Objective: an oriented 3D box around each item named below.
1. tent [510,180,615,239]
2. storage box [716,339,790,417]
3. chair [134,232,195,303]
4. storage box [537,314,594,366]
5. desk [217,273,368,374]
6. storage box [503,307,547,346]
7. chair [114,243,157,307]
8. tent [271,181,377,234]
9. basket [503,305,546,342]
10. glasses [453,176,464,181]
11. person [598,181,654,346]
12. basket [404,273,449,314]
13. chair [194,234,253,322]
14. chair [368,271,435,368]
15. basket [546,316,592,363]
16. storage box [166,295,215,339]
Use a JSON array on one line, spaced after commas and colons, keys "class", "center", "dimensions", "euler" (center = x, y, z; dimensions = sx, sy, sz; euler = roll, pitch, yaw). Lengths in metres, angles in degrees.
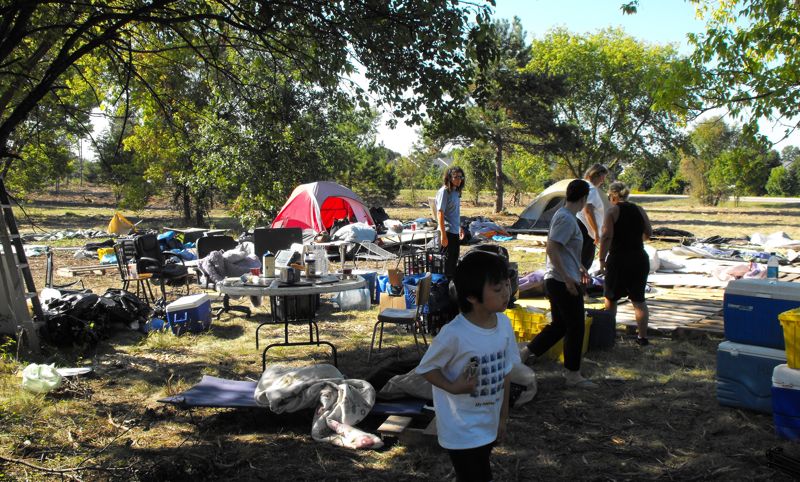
[{"class": "tent", "center": [5.401, -1.358, 21.356], "dimensions": [2.561, 1.060, 2.558], "euler": [-18, 3, -17]}, {"class": "storage box", "center": [4.576, 1.666, 7.638], "dimensions": [0.870, 0.832, 0.870], "euler": [-4, 5, -34]}, {"class": "chair", "center": [-4.614, 0.449, 12.058], "dimensions": [0.900, 1.120, 0.859], "euler": [5, 11, 24]}, {"class": "storage box", "center": [2.310, 1.326, 9.107], "dimensions": [0.950, 0.519, 0.963], "euler": [6, 0, 18]}, {"class": "desk", "center": [-1.536, 1.198, 9.362], "dimensions": [2.083, 1.147, 2.103], "euler": [-2, -2, 1]}, {"class": "storage box", "center": [1.857, 1.195, 9.010], "dimensions": [0.540, 0.294, 0.807], "euler": [1, 7, 7]}, {"class": "chair", "center": [-5.150, 0.731, 11.992], "dimensions": [0.524, 1.072, 0.515], "euler": [-13, -4, -32]}, {"class": "tent", "center": [-2.469, -1.030, 17.488], "dimensions": [1.776, 0.808, 1.559], "euler": [8, 20, 23]}, {"class": "basket", "center": [1.871, 1.187, 9.161], "dimensions": [0.537, 0.291, 0.807], "euler": [2, 8, 4]}, {"class": "glasses", "center": [0.987, -1.091, 10.338], "dimensions": [0.088, 0.092, 0.029], "euler": [3, 26, -20]}, {"class": "person", "center": [3.326, 0.326, 9.064], "dimensions": [0.844, 2.440, 0.606], "euler": [-2, 4, -39]}, {"class": "basket", "center": [0.460, 0.798, 9.841], "dimensions": [0.617, 0.618, 0.643], "euler": [-4, 6, 13]}, {"class": "chair", "center": [-3.264, 0.739, 11.898], "dimensions": [0.932, 1.347, 1.002], "euler": [-1, -5, 37]}, {"class": "chair", "center": [-0.010, 1.130, 9.117], "dimensions": [0.879, 1.234, 0.803], "euler": [1, 8, 1]}, {"class": "basket", "center": [2.437, 1.451, 8.930], "dimensions": [0.646, 0.485, 0.650], "euler": [3, 7, 42]}, {"class": "storage box", "center": [-3.516, 1.276, 10.419], "dimensions": [0.571, 0.562, 0.759], "euler": [-10, -5, 8]}]
